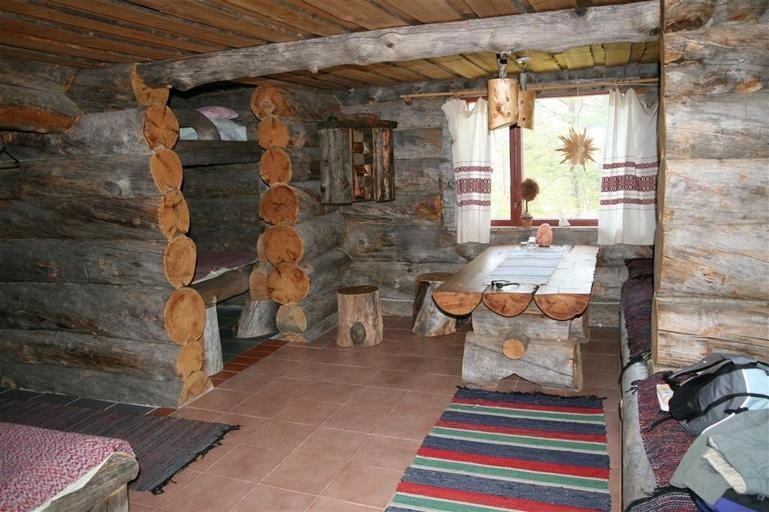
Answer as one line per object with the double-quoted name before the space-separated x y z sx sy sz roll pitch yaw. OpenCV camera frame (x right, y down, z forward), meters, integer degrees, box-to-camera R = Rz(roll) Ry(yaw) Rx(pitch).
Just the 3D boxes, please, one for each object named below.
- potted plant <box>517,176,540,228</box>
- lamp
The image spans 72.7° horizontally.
"potted plant" 1.855 -0.680 6.716 0.228 0.637 0.413 0 15 13
"lamp" 1.020 -1.232 4.226 0.391 0.400 0.198 -5 15 -8
